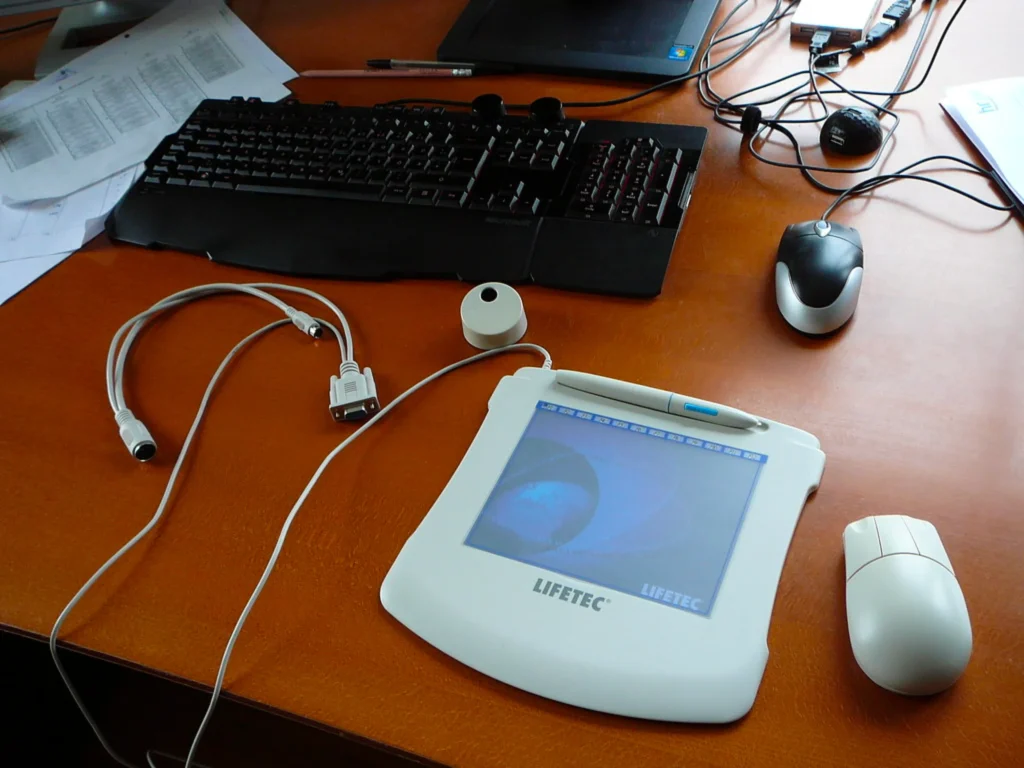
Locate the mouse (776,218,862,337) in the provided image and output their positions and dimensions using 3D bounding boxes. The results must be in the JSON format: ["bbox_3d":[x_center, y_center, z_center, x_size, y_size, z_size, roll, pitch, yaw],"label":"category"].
[{"bbox_3d":[0.282,-0.098,0.733,0.062,0.037,0.119,8,63,15],"label":"mouse"}]

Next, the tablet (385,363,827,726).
[{"bbox_3d":[0.073,0.111,0.642,0.291,0.054,0.279,19,55,20],"label":"tablet"}]
